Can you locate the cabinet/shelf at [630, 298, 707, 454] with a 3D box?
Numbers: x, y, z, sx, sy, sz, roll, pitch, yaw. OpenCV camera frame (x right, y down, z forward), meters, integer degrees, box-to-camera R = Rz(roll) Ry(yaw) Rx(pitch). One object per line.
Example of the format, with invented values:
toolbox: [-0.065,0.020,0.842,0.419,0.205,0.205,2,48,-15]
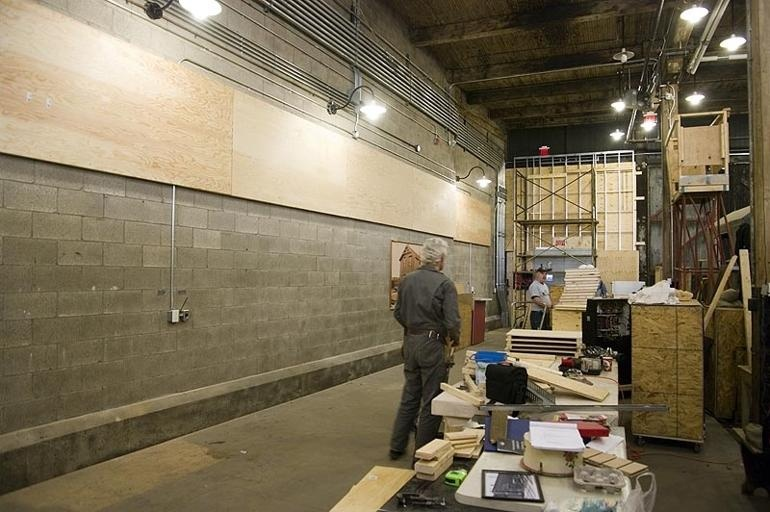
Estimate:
cabinet/shelf: [3.658,1.578,7.122,1.123,1.668,1.167,0,-4,29]

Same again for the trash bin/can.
trash bin/can: [3.471,1.265,8.109,0.854,1.425,0.791,-3,9,22]

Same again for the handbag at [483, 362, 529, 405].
handbag: [1.079,1.150,4.706,0.232,0.316,0.365,4,-5,-31]

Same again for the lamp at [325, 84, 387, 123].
lamp: [-0.493,-2.748,9.357,1.002,0.563,0.484,1,-5,-2]

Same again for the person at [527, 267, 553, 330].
person: [3.641,1.065,12.507,0.519,1.516,1.630,4,7,15]

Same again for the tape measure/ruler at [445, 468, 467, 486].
tape measure/ruler: [0.541,1.716,4.080,0.177,0.092,0.225,3,7,11]
